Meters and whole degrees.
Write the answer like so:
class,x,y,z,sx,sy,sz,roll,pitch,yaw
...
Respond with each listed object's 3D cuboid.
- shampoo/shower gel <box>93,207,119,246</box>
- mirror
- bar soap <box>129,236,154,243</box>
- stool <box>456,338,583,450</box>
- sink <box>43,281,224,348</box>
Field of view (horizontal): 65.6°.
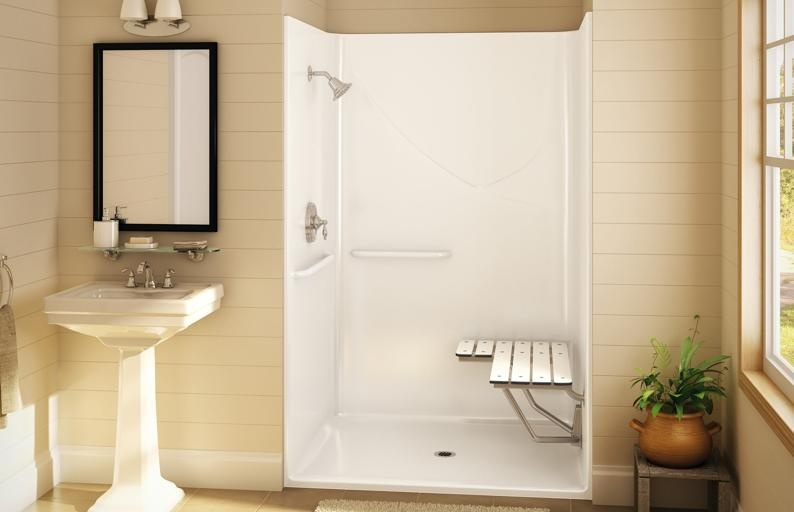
class,x,y,z,sx,sy,sz,roll,pitch,yaw
shampoo/shower gel,-1.805,-0.174,3.770,0.153,0.237,0.176,1,2,-19
mirror,-1.479,-0.748,3.751,0.850,1.170,0.043,2,3,10
bar soap,-1.572,-0.099,3.753,0.126,0.043,0.134,1,2,-13
stool,0.799,0.897,4.052,0.800,0.392,0.701,0,6,6
sink,-1.505,0.325,3.567,0.690,0.242,0.484,0,1,5
